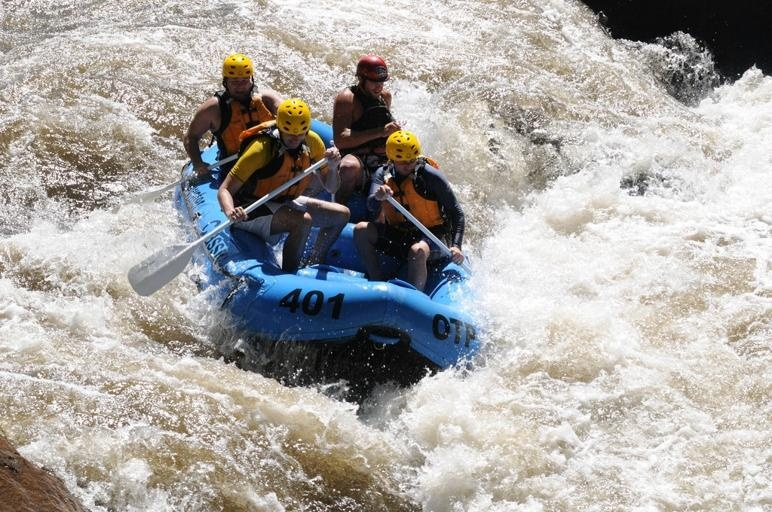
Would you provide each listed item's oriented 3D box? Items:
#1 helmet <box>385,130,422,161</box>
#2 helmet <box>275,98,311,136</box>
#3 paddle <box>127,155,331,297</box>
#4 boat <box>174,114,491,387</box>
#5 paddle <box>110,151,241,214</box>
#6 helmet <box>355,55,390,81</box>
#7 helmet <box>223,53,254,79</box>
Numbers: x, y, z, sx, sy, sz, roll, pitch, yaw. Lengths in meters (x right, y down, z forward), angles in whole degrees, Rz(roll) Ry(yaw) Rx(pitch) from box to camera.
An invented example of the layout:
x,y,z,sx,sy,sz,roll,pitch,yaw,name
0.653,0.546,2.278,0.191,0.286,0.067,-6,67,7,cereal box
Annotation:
x,y,z,sx,sy,sz,roll,pitch,yaw,name
0.195,-1.321,12.734,0.304,0.402,0.190,-12,81,-33,helmet
-1.135,-1.659,12.718,0.402,0.436,0.532,-6,20,-22,helmet
-1.842,-0.306,12.935,3.118,0.426,0.156,-31,16,-5,paddle
-0.888,0.611,14.818,3.173,1.522,5.691,6,8,-17,boat
-2.756,-0.920,13.771,1.872,0.113,0.250,-25,68,-8,paddle
-0.203,-2.346,13.546,0.277,0.295,0.386,-28,74,-38,helmet
-1.920,-2.401,13.428,0.306,0.273,0.422,-10,13,-14,helmet
